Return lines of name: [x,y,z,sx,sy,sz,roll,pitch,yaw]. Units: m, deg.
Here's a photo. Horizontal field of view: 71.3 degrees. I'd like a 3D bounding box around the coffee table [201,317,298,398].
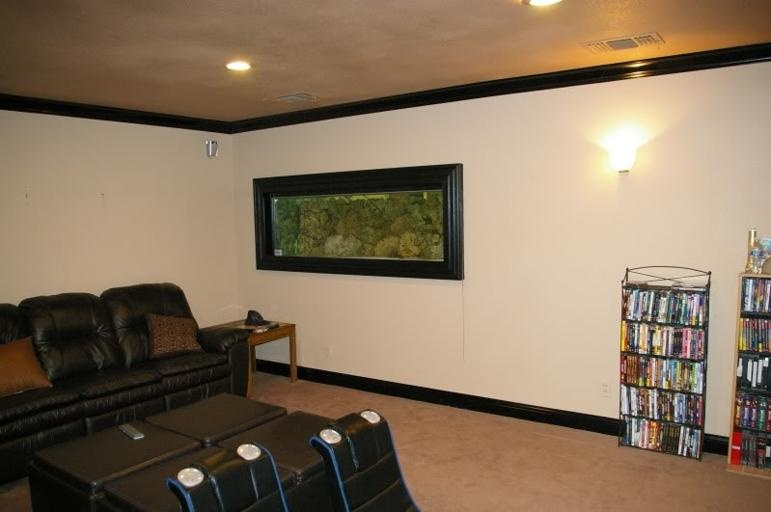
coffee table: [-1.578,1.090,6.360,0.832,0.792,0.851,2,5,30]
